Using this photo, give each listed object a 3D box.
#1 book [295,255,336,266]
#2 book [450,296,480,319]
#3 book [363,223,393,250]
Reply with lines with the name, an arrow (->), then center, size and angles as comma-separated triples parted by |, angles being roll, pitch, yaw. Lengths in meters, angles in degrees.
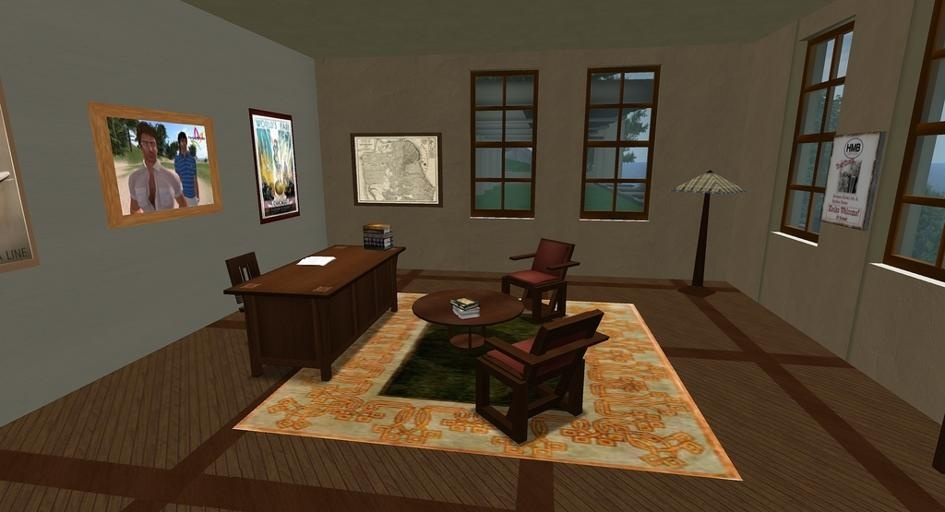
book -> -2.484, 0.077, 7.919 | 0.571, 0.064, 0.467 | 2, 13, 12
book -> -0.094, 0.770, 7.308 | 0.418, 0.207, 0.368 | -2, 13, -3
book -> -1.696, -0.321, 8.563 | 0.632, 0.423, 0.415 | 1, 12, 8
